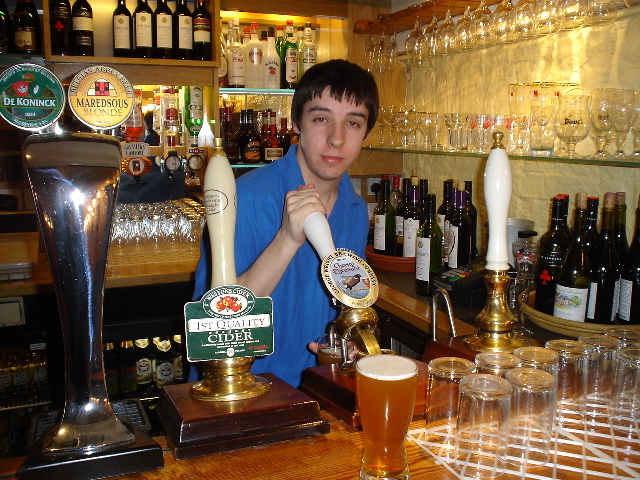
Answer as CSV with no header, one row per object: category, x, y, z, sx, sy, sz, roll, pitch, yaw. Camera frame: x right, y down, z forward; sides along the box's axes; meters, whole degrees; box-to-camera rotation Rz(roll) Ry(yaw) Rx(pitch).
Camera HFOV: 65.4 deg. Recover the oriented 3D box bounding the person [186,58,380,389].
person,-0.100,-0.062,1.625,0.474,1.055,0.859,2,9,18
